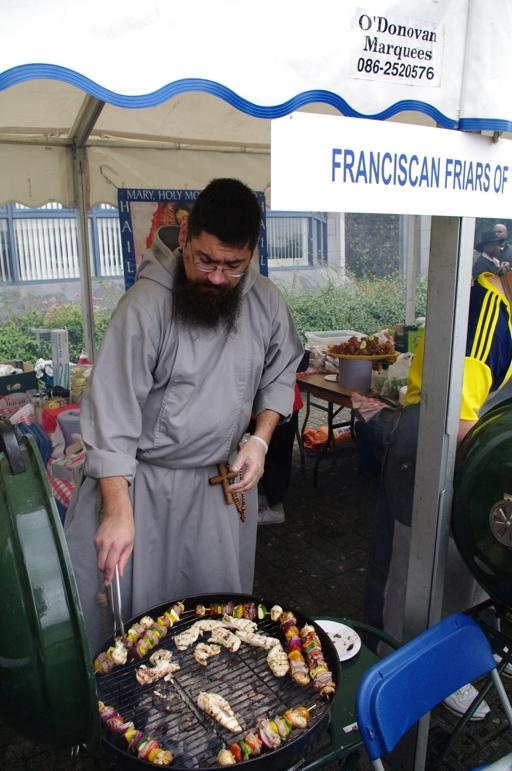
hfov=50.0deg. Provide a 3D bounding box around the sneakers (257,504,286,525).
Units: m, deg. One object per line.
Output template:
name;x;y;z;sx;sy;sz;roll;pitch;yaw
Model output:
sneakers;0.133;1.058;4.497;0.244;0.110;0.110;1;-1;-18

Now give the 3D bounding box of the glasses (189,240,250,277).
glasses;-0.135;-0.406;1.766;0.118;0.071;0.155;11;17;-23

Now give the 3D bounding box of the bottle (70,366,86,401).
bottle;-1.278;-0.007;3.928;0.147;0.206;0.061;1;-28;8

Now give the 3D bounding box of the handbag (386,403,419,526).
handbag;0.631;0.349;2.356;0.139;0.398;0.277;6;-4;7

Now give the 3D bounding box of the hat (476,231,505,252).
hat;3.962;-2.426;9.258;0.451;0.196;0.418;-8;13;16

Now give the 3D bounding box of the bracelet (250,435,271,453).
bracelet;0.017;0.214;2.051;0.059;0.043;0.060;10;-12;38
